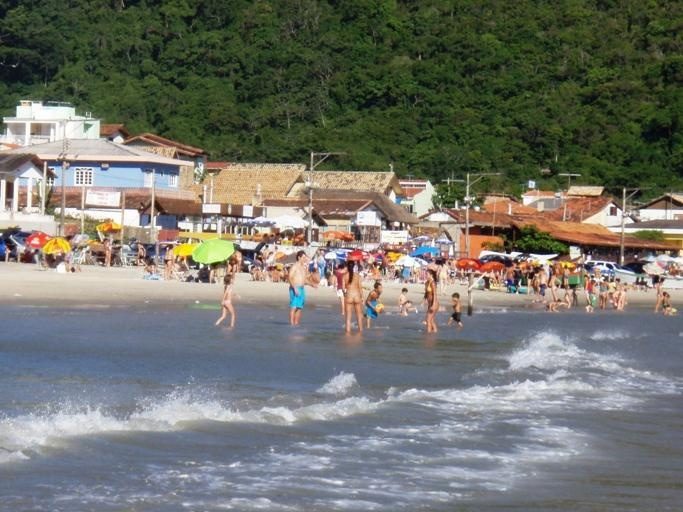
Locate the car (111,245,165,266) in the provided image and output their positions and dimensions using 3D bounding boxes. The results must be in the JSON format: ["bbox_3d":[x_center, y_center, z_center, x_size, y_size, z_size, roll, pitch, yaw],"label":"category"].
[{"bbox_3d":[-15.626,0.003,121.379,2.641,1.245,1.925,-4,6,1],"label":"car"}]

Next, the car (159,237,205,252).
[{"bbox_3d":[-12.799,-0.928,124.862,1.707,0.922,2.836,-1,-5,9],"label":"car"}]
